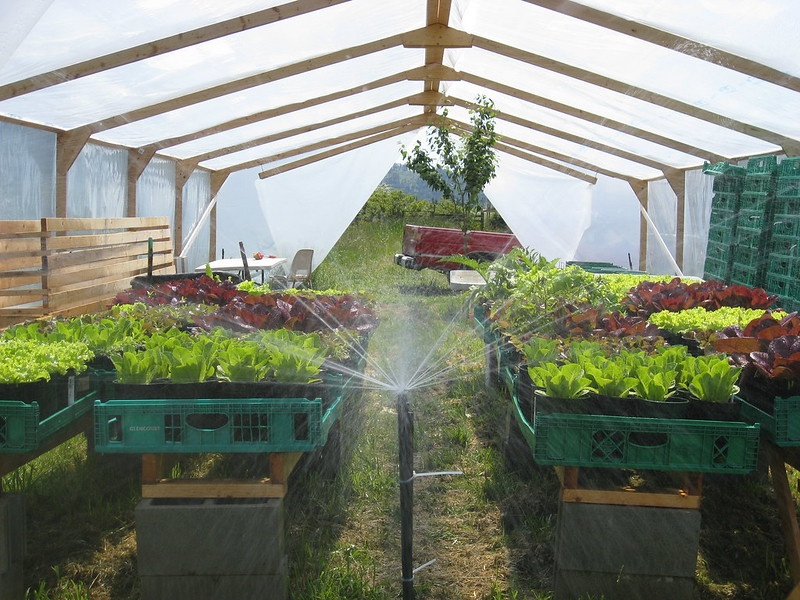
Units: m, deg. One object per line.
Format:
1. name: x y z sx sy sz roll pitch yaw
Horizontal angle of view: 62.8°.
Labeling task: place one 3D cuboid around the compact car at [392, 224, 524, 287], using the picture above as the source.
1. compact car: 1.361 -1.213 15.605 2.435 0.774 1.510 -3 12 -15
